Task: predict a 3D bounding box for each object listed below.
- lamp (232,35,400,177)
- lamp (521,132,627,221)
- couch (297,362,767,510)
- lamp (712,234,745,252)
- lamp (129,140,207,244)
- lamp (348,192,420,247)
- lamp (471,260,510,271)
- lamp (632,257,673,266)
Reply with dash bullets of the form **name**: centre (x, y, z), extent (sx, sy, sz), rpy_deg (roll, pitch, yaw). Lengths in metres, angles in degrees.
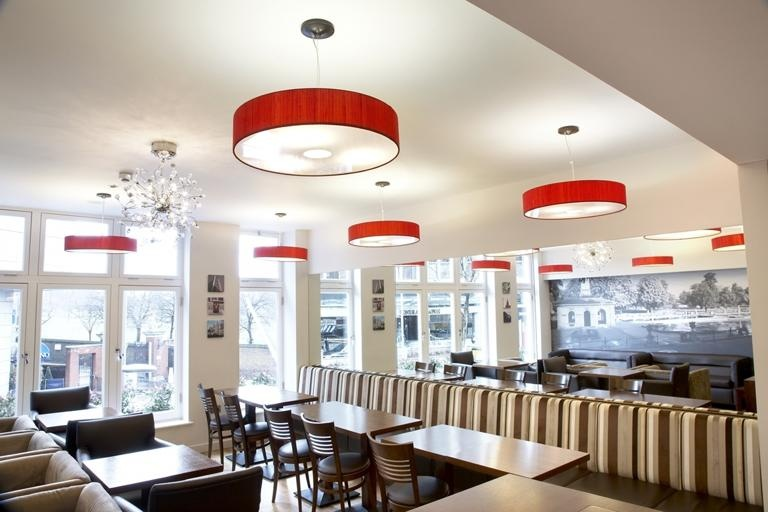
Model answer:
- **lamp**: centre (-0.464, -0.947, 3.726), extent (0.839, 0.481, 0.787), rpy_deg (1, -15, -7)
- **lamp**: centre (1.706, -0.789, 5.032), extent (0.888, 0.779, 0.938), rpy_deg (0, -7, -11)
- **couch**: centre (1.343, 1.762, 5.548), extent (4.221, 0.796, 0.390), rpy_deg (-8, -10, 42)
- **lamp**: centre (4.266, -0.168, 6.651), extent (0.368, 0.111, 0.351), rpy_deg (-2, -7, 9)
- **lamp**: centre (-2.306, -0.709, 5.680), extent (0.658, 0.767, 0.655), rpy_deg (-17, -29, 24)
- **lamp**: centre (-0.011, -0.269, 5.961), extent (0.734, 0.219, 0.695), rpy_deg (0, -7, -6)
- **lamp**: centre (1.696, 0.145, 8.499), extent (0.257, 0.150, 0.745), rpy_deg (-8, -10, 43)
- **lamp**: centre (4.474, 0.093, 8.971), extent (0.418, 0.086, 0.403), rpy_deg (3, -6, -37)
